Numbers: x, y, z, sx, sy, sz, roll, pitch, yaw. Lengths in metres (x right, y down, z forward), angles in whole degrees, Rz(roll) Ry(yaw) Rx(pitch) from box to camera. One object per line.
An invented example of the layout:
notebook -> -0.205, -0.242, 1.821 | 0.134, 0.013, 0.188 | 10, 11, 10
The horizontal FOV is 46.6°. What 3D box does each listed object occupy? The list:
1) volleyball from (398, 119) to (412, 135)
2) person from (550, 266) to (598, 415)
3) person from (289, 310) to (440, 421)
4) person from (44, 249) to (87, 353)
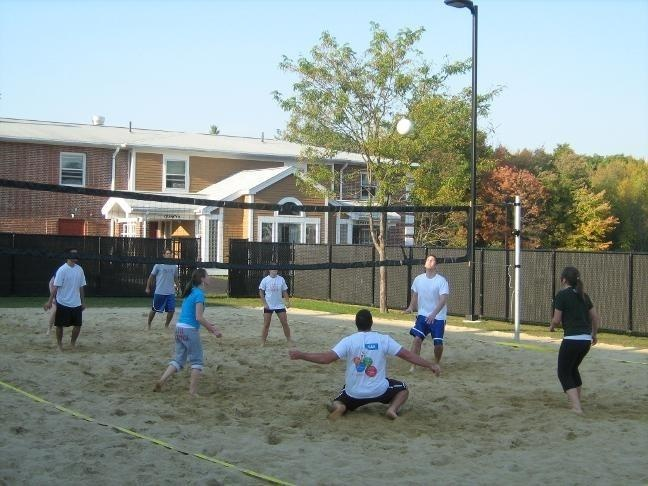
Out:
volleyball -> 2.180, -3.160, 20.331 | 0.450, 0.434, 0.473 | 0, 8, -8
person -> 3.551, 1.374, 10.759 | 0.617, 2.026, 0.696 | 4, 9, 19
person -> 0.579, 1.690, 10.314 | 1.653, 1.507, 0.594 | 0, 9, -12
person -> -4.743, 1.101, 13.778 | 0.669, 1.685, 1.091 | -2, 9, -18
